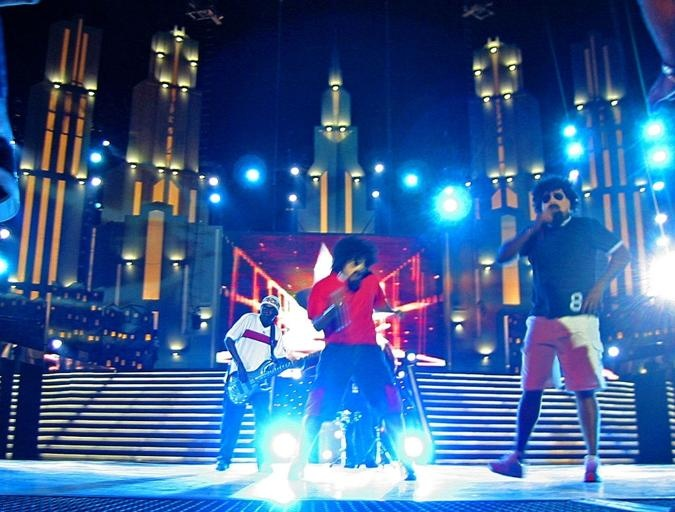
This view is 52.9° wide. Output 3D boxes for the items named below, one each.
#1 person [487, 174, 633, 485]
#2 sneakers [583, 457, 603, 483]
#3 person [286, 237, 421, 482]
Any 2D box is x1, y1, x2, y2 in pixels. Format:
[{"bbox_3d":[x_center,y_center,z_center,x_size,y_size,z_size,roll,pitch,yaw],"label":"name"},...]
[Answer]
[{"bbox_3d":[2.482,0.766,7.486,1.357,3.332,0.435,-2,-13,11],"label":"person"},{"bbox_3d":[2.734,2.285,7.315,0.170,0.282,0.188,-3,-13,17],"label":"sneakers"},{"bbox_3d":[0.168,1.022,7.525,1.153,2.443,0.348,2,-13,-5],"label":"person"}]
